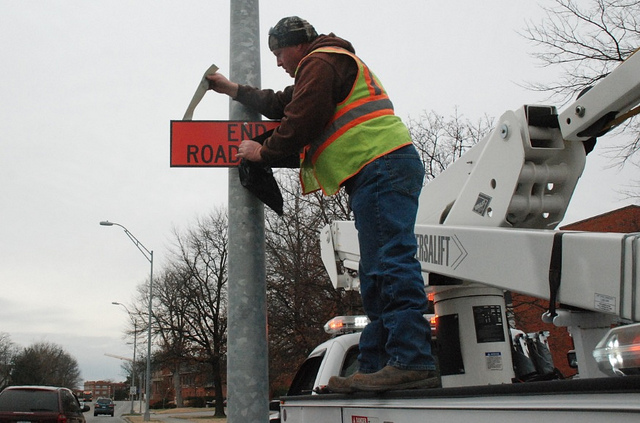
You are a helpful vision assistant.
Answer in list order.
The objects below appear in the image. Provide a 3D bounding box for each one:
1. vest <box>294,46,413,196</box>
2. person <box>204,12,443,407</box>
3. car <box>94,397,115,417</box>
[{"bbox_3d":[0.197,-0.641,3.669,0.822,0.946,0.591,-7,-22,15],"label":"vest"},{"bbox_3d":[0.189,-0.082,3.757,1.118,2.602,1.211,-9,-22,18],"label":"person"},{"bbox_3d":[-19.814,18.061,48.391,1.392,1.262,2.518,3,-8,-11],"label":"car"}]
